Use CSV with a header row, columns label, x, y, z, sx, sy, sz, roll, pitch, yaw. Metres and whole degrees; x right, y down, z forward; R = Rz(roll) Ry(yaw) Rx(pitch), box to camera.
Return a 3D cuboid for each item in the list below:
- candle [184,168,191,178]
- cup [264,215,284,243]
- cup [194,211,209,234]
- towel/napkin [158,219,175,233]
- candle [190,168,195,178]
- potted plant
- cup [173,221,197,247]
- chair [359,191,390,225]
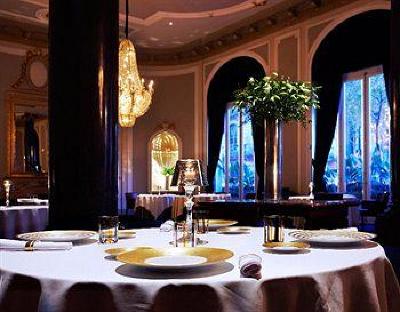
label,x,y,z,sx,sy,sz,roll,pitch,yaw
candle,-0.063,0.087,1.948,0.038,0.048,0.039,3,4,42
cup,0.333,0.327,1.702,0.100,0.134,0.112,0,-8,-1
cup,0.009,0.341,1.982,0.102,0.133,0.109,-1,-4,0
towel/napkin,-0.185,0.393,2.094,0.088,0.050,0.155,0,3,4
candle,-0.039,0.090,1.949,0.031,0.036,0.033,-3,4,-2
potted plant,0.798,-0.220,3.825,0.906,1.333,0.884,7,15,33
cup,-0.063,0.326,1.611,0.092,0.120,0.104,1,-5,-13
chair,3.063,0.948,6.681,0.448,0.641,0.423,3,-3,9
